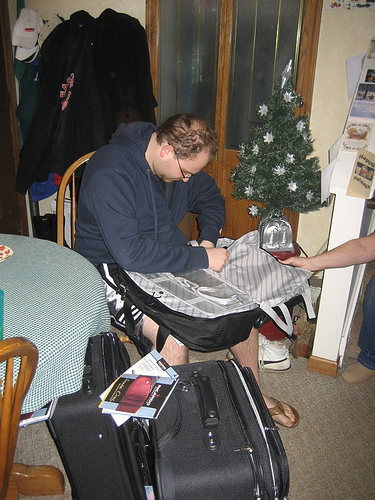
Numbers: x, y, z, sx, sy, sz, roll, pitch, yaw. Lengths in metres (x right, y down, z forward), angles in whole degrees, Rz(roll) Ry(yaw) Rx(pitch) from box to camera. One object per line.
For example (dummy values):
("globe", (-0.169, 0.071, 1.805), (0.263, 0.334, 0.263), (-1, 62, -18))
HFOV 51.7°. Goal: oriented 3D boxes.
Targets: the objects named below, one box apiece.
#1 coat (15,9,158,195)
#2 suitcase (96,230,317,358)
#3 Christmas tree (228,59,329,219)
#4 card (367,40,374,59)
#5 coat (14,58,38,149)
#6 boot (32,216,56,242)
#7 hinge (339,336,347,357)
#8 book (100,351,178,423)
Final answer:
("coat", (-0.644, -1.022, 2.532), (0.656, 1.171, 0.530), (-6, 34, -15))
("suitcase", (0.068, 0.161, 1.398), (0.521, 0.176, 0.528), (14, 23, 21))
("Christmas tree", (0.448, -0.485, 1.862), (0.509, 0.757, 0.217), (11, 28, 18))
("card", (0.909, -0.994, 1.922), (0.030, 0.079, 0.060), (12, 28, 19))
("coat", (-1.164, -0.994, 2.874), (0.188, 0.761, 0.116), (22, 33, 14))
("boot", (-0.991, -0.157, 2.671), (0.134, 0.184, 0.054), (4, 27, 10))
("hinge", (0.759, 0.478, 1.904), (0.024, 0.105, 0.028), (-5, 27, -13))
("book", (-0.121, 0.372, 0.999), (0.175, 0.043, 0.133), (6, 40, 37))
